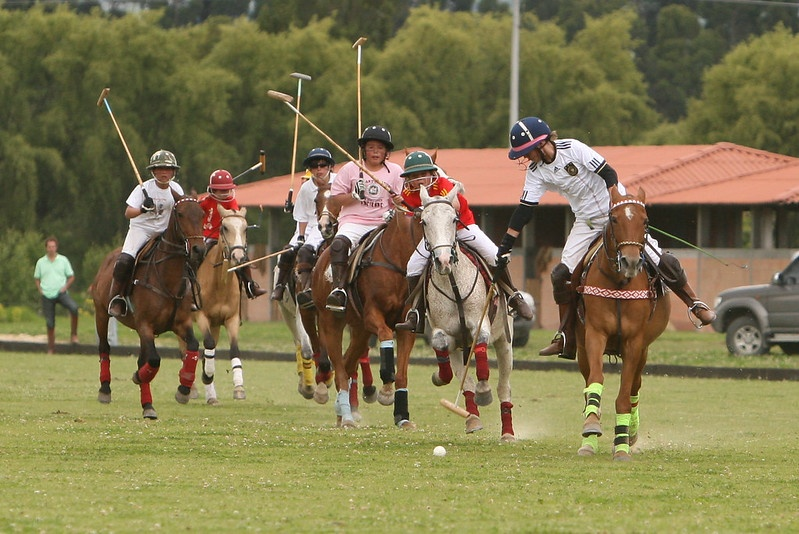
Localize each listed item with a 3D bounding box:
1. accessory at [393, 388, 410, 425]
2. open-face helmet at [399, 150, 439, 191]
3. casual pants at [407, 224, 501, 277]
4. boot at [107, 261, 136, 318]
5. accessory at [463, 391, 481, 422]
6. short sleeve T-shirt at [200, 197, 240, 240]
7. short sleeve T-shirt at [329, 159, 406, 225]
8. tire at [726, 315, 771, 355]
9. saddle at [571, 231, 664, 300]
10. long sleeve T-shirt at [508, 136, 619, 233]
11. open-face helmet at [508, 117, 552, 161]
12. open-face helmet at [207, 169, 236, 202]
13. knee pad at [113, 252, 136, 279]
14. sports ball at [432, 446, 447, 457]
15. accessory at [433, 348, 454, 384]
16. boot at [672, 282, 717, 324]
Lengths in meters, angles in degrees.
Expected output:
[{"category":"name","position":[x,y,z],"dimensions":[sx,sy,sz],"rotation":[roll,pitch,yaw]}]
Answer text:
[{"category":"accessory","position":[0.018,2.431,28.325],"dimensions":[0.217,0.651,0.213],"rotation":[1,-1,-1]},{"category":"open-face helmet","position":[0.316,-1.663,28.161],"dimensions":[0.671,0.567,0.702],"rotation":[-9,6,-8]},{"category":"casual pants","position":[1.096,-0.149,28.615],"dimensions":[0.614,1.114,2.303],"rotation":[-21,-16,16]},{"category":"boot","position":[-4.919,0.389,29.287],"dimensions":[0.377,1.142,0.440],"rotation":[10,14,-10]},{"category":"accessory","position":[1.180,2.375,27.775],"dimensions":[0.154,0.550,0.161],"rotation":[-24,-1,-5]},{"category":"short sleeve T-shirt","position":[-3.337,-0.882,30.575],"dimensions":[0.916,0.913,0.536],"rotation":[1,0,-29]},{"category":"short sleeve T-shirt","position":[-0.589,-1.285,29.113],"dimensions":[1.533,1.198,0.798],"rotation":[-1,17,-27]},{"category":"tire","position":[7.721,1.553,36.484],"dimensions":[0.735,0.687,0.255],"rotation":[-25,-10,9]},{"category":"saddle","position":[3.492,0.075,26.646],"dimensions":[0.951,0.888,1.475],"rotation":[10,-8,8]},{"category":"long sleeve T-shirt","position":[3.124,-1.273,27.491],"dimensions":[0.954,0.556,1.693],"rotation":[-41,-36,21]},{"category":"open-face helmet","position":[2.075,-2.127,27.256],"dimensions":[0.756,0.396,0.596],"rotation":[-37,14,-21]},{"category":"open-face helmet","position":[-3.384,-1.525,30.951],"dimensions":[0.507,0.476,0.562],"rotation":[-1,10,-19]},{"category":"knee pad","position":[-4.851,0.009,29.197],"dimensions":[0.304,0.455,0.190],"rotation":[20,-3,-4]},{"category":"sports ball","position":[0.635,2.997,26.489],"dimensions":[0.168,0.146,0.158],"rotation":[-15,7,2]},{"category":"accessory","position":[0.797,1.751,27.997],"dimensions":[0.215,0.716,0.422],"rotation":[-9,-10,8]},{"category":"boot","position":[4.861,0.623,27.342],"dimensions":[0.370,0.334,1.208],"rotation":[-41,36,-3]}]
